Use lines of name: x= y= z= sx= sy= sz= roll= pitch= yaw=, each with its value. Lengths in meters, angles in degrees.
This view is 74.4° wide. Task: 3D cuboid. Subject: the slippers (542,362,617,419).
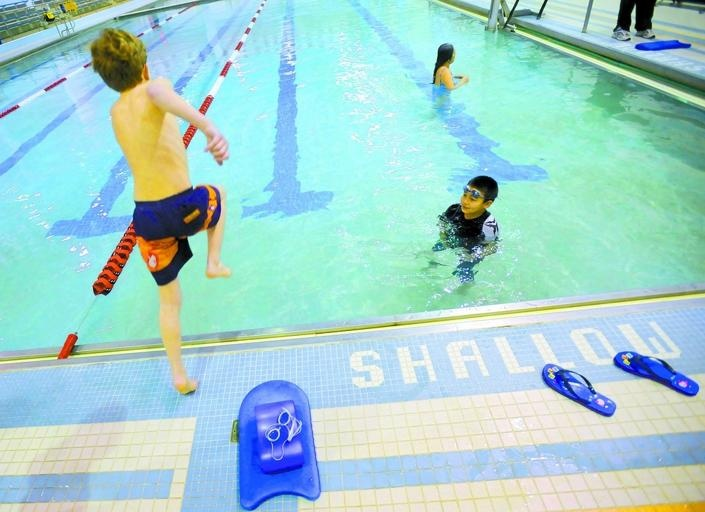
slippers: x=1.262 y=0.769 z=2.655 sx=0.398 sy=0.088 sz=0.182 roll=32 pitch=56 yaw=24

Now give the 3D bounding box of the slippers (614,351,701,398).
slippers: x=1.713 y=0.663 z=2.670 sx=0.432 sy=0.078 sz=0.187 roll=25 pitch=44 yaw=35

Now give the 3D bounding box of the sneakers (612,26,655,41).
sneakers: x=3.826 y=-2.997 z=6.371 sx=0.571 sy=0.219 sz=0.188 roll=5 pitch=48 yaw=17

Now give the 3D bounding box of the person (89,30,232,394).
person: x=-0.970 y=-0.219 z=2.640 sx=0.607 sy=1.868 sz=1.033 roll=-13 pitch=42 yaw=-14

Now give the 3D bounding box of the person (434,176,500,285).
person: x=0.876 y=-0.087 z=3.510 sx=0.423 sy=0.909 sz=0.317 roll=10 pitch=18 yaw=23

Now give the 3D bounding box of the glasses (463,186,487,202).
glasses: x=0.858 y=-0.438 z=3.273 sx=0.115 sy=0.105 sz=0.039 roll=19 pitch=31 yaw=34
